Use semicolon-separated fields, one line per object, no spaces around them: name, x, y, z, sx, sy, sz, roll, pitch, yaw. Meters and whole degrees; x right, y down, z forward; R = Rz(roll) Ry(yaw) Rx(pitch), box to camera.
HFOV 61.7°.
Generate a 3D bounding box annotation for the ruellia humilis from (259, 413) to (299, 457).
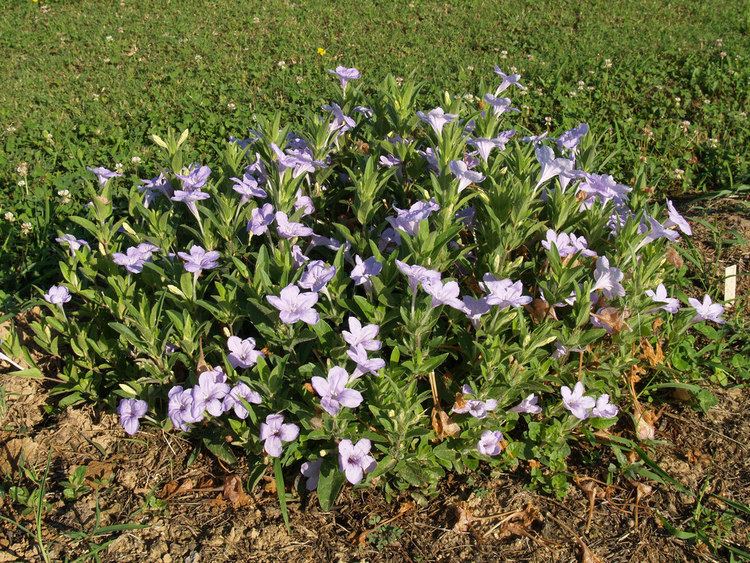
ruellia humilis;-0.575;0.905;3.709;0.199;0.154;0.182;-27;50;-37
